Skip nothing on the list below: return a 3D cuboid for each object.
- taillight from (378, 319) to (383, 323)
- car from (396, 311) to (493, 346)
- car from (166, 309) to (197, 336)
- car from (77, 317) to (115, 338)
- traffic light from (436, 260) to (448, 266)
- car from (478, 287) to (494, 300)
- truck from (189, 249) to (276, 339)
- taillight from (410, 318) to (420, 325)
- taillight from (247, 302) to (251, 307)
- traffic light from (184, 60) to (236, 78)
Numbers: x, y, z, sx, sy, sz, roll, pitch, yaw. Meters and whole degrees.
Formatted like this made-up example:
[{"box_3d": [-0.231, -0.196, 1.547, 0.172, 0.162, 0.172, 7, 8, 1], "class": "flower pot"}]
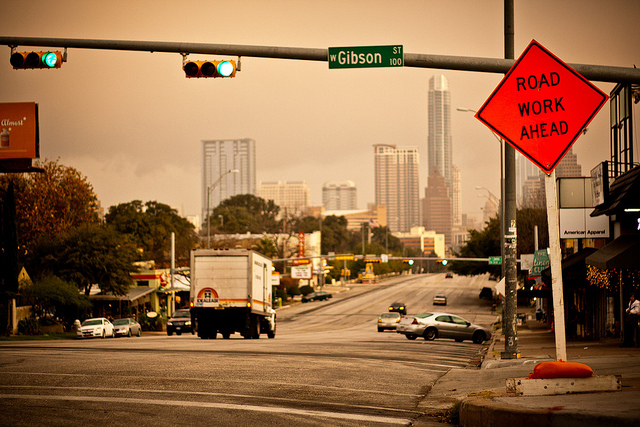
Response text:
[{"box_3d": [4.291, 7.615, 77.896, 0.249, 0.155, 0.250, 1, 0, -34], "class": "taillight"}, {"box_3d": [7.442, 6.878, 65.576, 5.294, 2.030, 2.311, -4, -8, 10], "class": "car"}, {"box_3d": [-9.234, 7.184, 74.104, 1.775, 1.868, 4.137, -1, -11, 0], "class": "car"}, {"box_3d": [-13.941, 7.197, 69.193, 1.482, 1.307, 2.647, -5, -8, 20], "class": "car"}, {"box_3d": [9.329, 3.689, 83.832, 0.716, 0.460, 0.758, 0, -2, 33], "class": "traffic light"}, {"box_3d": [18.683, 8.994, 123.777, 1.102, 0.982, 1.896, 1, 3, 10], "class": "car"}, {"box_3d": [-4.828, 4.395, 59.805, 4.101, 4.881, 4.848, -2, -7, -1], "class": "truck"}, {"box_3d": [5.743, 6.479, 65.867, 0.524, 0.364, 0.310, -9, -10, 42], "class": "taillight"}, {"box_3d": [-3.711, 4.819, 58.165, 0.160, 0.232, 0.111, -5, -7, 22], "class": "taillight"}, {"box_3d": [-4.334, -5.812, 43.420, 1.792, 0.636, 1.337, -6, -9, 28], "class": "traffic light"}]
